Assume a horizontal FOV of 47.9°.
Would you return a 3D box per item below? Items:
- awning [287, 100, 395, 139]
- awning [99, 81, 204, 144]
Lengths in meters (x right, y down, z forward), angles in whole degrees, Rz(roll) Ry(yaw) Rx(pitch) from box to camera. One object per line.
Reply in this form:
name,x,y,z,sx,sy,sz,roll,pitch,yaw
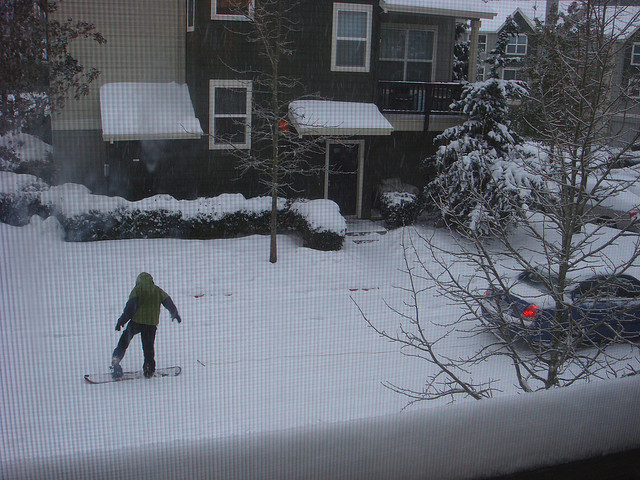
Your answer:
awning,0.140,-0.727,4.351,0.419,0.225,0.926,6,13,34
awning,-0.746,-0.546,3.112,0.368,0.255,0.591,-1,11,-4
